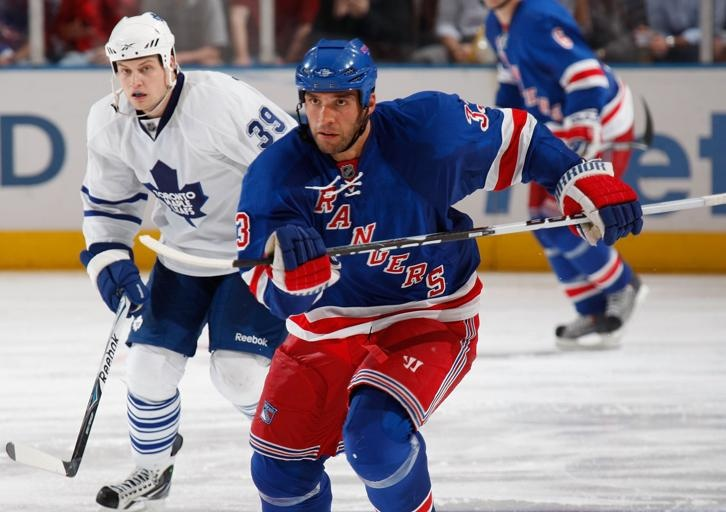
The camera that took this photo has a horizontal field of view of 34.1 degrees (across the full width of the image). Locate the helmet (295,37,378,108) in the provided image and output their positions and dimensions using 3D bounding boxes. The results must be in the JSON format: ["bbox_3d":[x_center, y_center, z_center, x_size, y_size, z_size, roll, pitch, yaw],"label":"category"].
[{"bbox_3d":[-0.121,-0.648,4.645,0.314,0.335,0.369,0,14,-3],"label":"helmet"}]

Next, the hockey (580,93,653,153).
[{"bbox_3d":[1.484,-0.772,6.986,0.582,0.170,0.563,-10,-7,32],"label":"hockey"}]

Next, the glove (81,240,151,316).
[{"bbox_3d":[-1.089,0.085,5.203,0.222,0.369,0.108,-13,-26,-36],"label":"glove"}]

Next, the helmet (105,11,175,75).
[{"bbox_3d":[-0.994,-0.907,5.252,0.294,0.282,0.332,-6,7,3],"label":"helmet"}]

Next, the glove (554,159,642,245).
[{"bbox_3d":[0.927,-0.202,4.745,0.290,0.366,0.179,-21,-17,-41],"label":"glove"}]
